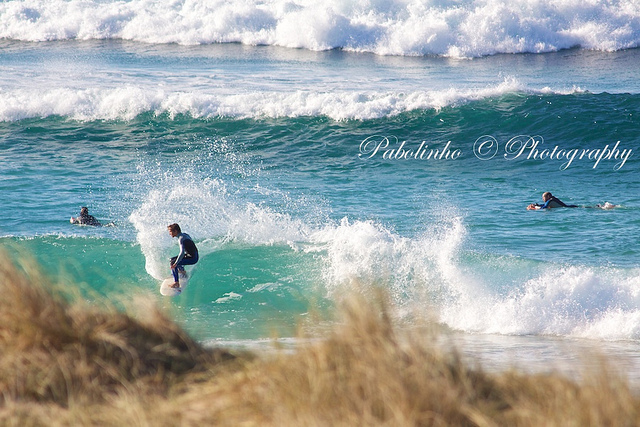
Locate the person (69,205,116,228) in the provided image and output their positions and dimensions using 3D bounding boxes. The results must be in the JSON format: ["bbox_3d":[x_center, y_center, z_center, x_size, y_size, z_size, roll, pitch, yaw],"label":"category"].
[{"bbox_3d":[-11.441,0.244,47.322,1.635,0.727,1.164,13,0,11],"label":"person"}]
